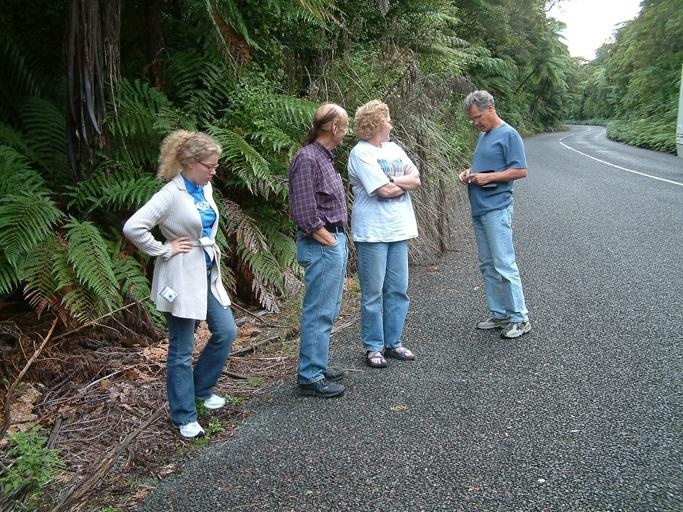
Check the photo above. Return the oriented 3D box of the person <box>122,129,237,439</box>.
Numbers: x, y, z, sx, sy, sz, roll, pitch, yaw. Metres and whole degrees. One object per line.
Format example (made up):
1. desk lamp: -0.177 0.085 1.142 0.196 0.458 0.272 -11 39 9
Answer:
1. person: -1.215 0.212 3.948 0.463 2.276 0.844 5 21 29

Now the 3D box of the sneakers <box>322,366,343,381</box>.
1. sneakers: -0.053 1.095 4.707 0.246 0.104 0.085 -3 27 -11

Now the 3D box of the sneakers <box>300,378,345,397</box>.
1. sneakers: -0.174 1.151 4.414 0.350 0.156 0.157 -1 5 2

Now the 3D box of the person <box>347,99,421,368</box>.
1. person: 0.439 -0.215 4.898 0.675 2.469 0.902 -2 18 8

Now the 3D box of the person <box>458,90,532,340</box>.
1. person: 1.670 -0.460 5.375 0.685 2.491 1.079 -4 18 2

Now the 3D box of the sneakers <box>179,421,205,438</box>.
1. sneakers: -1.164 1.340 3.914 0.175 0.066 0.103 3 27 23

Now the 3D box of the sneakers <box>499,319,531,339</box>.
1. sneakers: 1.845 0.749 5.311 0.329 0.139 0.137 -13 9 -18

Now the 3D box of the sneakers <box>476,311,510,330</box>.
1. sneakers: 1.673 0.721 5.555 0.361 0.153 0.134 2 4 5

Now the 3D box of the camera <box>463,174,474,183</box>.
1. camera: 1.402 -0.833 5.482 0.109 0.068 0.086 6 -17 -44

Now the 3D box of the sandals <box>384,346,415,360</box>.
1. sandals: 0.588 0.967 5.066 0.277 0.100 0.117 0 5 12

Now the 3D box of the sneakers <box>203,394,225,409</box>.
1. sneakers: -1.082 1.234 4.295 0.201 0.083 0.086 0 25 -10

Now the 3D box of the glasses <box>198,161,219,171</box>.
1. glasses: -1.012 -0.690 3.862 0.046 0.071 0.144 10 22 38
